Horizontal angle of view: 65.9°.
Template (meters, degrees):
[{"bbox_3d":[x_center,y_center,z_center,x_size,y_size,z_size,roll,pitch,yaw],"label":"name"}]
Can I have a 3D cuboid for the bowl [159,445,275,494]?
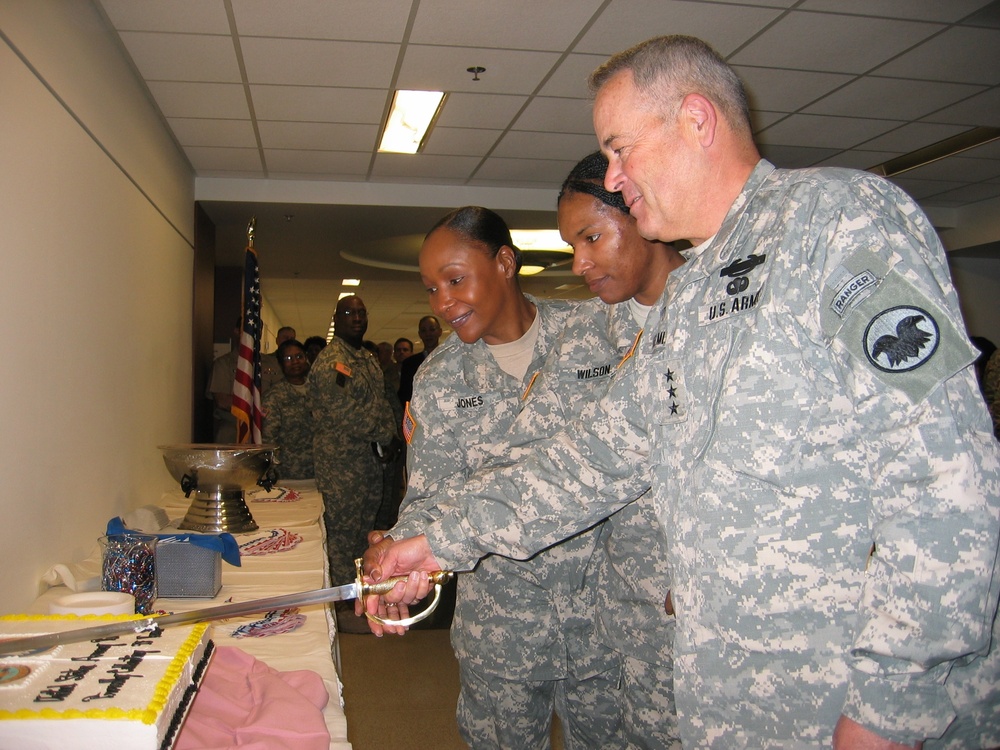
[{"bbox_3d":[-0.958,0.322,2.703,0.328,0.110,0.303,-1,4,0],"label":"bowl"}]

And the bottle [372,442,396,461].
[{"bbox_3d":[-0.725,0.484,4.827,0.134,0.135,0.099,-22,-16,36],"label":"bottle"}]
